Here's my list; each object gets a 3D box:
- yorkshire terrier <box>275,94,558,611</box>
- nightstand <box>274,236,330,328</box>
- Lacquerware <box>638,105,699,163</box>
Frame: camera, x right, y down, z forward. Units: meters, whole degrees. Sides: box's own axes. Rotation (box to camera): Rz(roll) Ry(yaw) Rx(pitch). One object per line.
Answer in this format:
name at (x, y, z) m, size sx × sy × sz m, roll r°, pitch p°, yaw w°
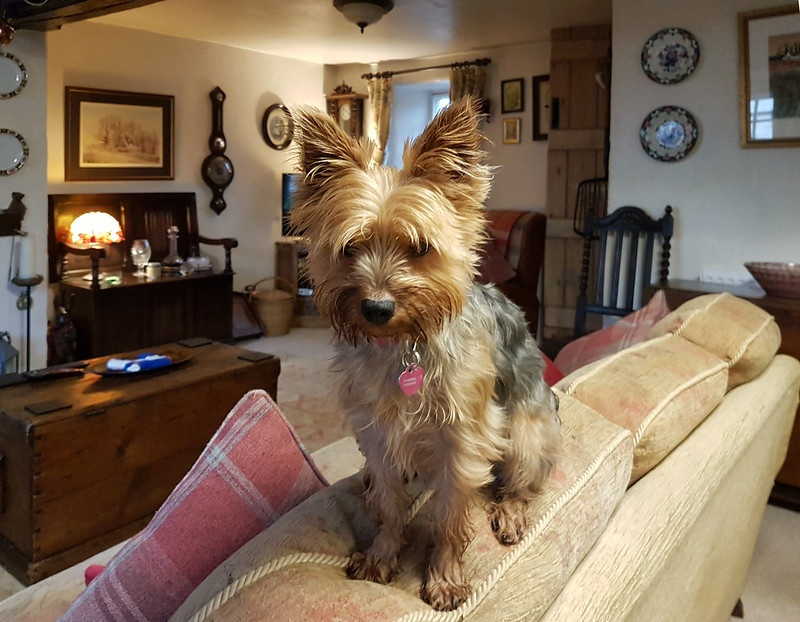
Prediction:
yorkshire terrier at (0.094, 0.053, 1.358) m, size 0.483 × 1.015 × 0.831 m, roll 4°, pitch 13°, yaw 25°
nightstand at (-1.445, -0.382, 7.705) m, size 0.469 × 1.173 × 1.246 m, roll 0°, pitch 0°, yaw -10°
Lacquerware at (1.961, -1.301, 4.205) m, size 0.398 × 0.393 × 0.053 m, roll 5°, pitch 12°, yaw 38°
